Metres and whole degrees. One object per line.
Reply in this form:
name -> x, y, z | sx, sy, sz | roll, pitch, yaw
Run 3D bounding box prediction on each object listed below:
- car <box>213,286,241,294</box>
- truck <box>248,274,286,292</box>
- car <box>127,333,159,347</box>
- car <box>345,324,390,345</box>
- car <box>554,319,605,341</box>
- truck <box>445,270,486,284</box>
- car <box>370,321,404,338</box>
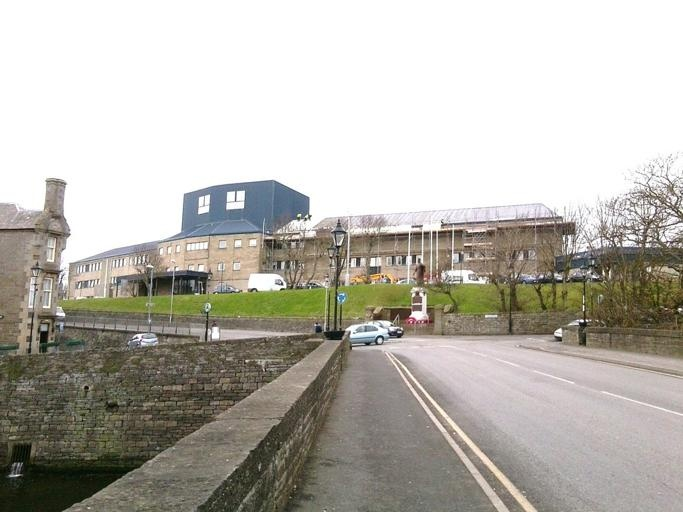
car -> -16.138, 4.913, 82.542 | 2.785, 1.126, 1.584 | -3, -8, 1
truck -> -10.278, 3.709, 79.441 | 3.663, 1.979, 2.654 | -1, -3, 7
car -> -15.210, 6.510, 45.688 | 1.750, 0.781, 2.162 | 3, -3, -36
car -> 1.920, 5.760, 43.061 | 3.163, 1.074, 1.433 | 7, -10, -26
car -> 16.774, 5.099, 41.649 | 3.424, 1.214, 1.636 | 2, -10, 0
truck -> 15.197, 2.655, 72.740 | 4.408, 1.868, 10.938 | 0, -3, 13
car -> 3.871, 6.250, 50.019 | 2.834, 0.966, 1.228 | 0, -3, -12
